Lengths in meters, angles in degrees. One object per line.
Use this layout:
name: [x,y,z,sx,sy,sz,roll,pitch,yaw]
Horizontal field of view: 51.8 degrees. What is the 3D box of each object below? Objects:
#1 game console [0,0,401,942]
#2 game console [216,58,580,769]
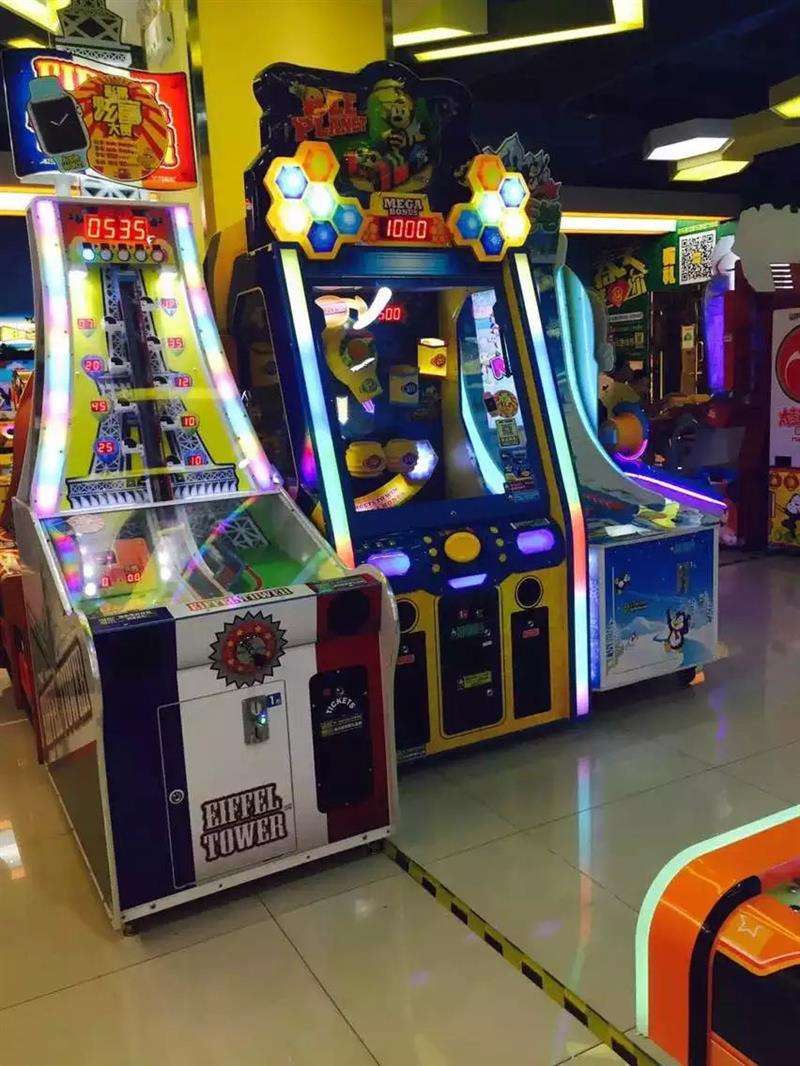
game console: [-0.587,-0.039,2.353,0.813,1.947,0.904,-9,10,-31]
game console: [0.042,-0.380,2.912,1.022,2.206,0.805,-9,16,-25]
